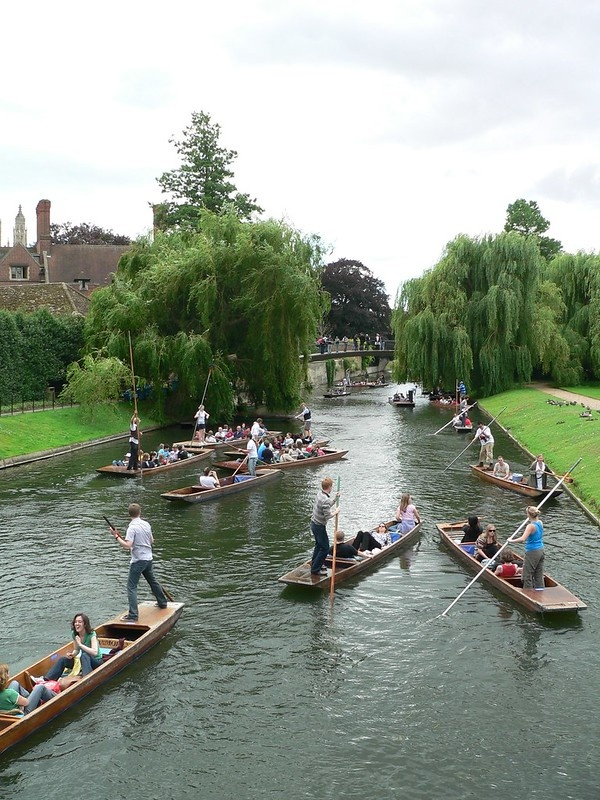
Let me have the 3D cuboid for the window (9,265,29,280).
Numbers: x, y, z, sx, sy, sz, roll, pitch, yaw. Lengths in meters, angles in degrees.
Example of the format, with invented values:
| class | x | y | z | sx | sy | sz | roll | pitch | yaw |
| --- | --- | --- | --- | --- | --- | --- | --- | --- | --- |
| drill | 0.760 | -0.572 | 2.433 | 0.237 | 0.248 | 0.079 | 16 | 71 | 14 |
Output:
| class | x | y | z | sx | sy | sz | roll | pitch | yaw |
| --- | --- | --- | --- | --- | --- | --- | --- | --- | --- |
| window | -25.088 | -11.376 | 73.241 | 1.303 | 1.330 | 0.137 | 0 | 2 | 4 |

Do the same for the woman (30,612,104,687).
| class | x | y | z | sx | sy | sz | roll | pitch | yaw |
| --- | --- | --- | --- | --- | --- | --- | --- | --- | --- |
| woman | -3.210 | 3.557 | 11.473 | 0.491 | 0.993 | 0.951 | -3 | -6 | 35 |

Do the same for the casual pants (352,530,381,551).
| class | x | y | z | sx | sy | sz | roll | pitch | yaw |
| --- | --- | --- | --- | --- | --- | --- | --- | --- | --- |
| casual pants | 1.405 | 3.003 | 17.363 | 0.222 | 0.257 | 0.694 | 10 | 9 | 31 |

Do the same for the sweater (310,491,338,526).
| class | x | y | z | sx | sy | sz | roll | pitch | yaw |
| --- | --- | --- | --- | --- | --- | --- | --- | --- | --- |
| sweater | 0.437 | 1.996 | 15.065 | 0.447 | 0.680 | 0.310 | -4 | 3 | -21 |

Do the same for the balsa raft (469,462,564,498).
| class | x | y | z | sx | sy | sz | roll | pitch | yaw |
| --- | --- | --- | --- | --- | --- | --- | --- | --- | --- |
| balsa raft | 6.232 | 2.355 | 24.528 | 0.674 | 0.330 | 2.915 | 0 | 3 | -16 |

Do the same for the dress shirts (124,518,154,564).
| class | x | y | z | sx | sy | sz | roll | pitch | yaw |
| --- | --- | --- | --- | --- | --- | --- | --- | --- | --- |
| dress shirts | -2.574 | 2.248 | 13.066 | 0.529 | 0.683 | 0.377 | -5 | 3 | -37 |

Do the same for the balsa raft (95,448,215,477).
| class | x | y | z | sx | sy | sz | roll | pitch | yaw |
| --- | --- | --- | --- | --- | --- | --- | --- | --- | --- |
| balsa raft | -4.594 | 2.249 | 28.708 | 1.026 | 0.513 | 4.689 | -1 | 5 | 20 |

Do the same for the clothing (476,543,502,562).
| class | x | y | z | sx | sy | sz | roll | pitch | yaw |
| --- | --- | --- | --- | --- | --- | --- | --- | --- | --- |
| clothing | 3.701 | 3.100 | 16.356 | 0.329 | 0.225 | 0.582 | 0 | 3 | -9 |

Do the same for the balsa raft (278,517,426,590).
| class | x | y | z | sx | sy | sz | roll | pitch | yaw |
| --- | --- | --- | --- | --- | --- | --- | --- | --- | --- |
| balsa raft | 1.369 | 3.179 | 16.938 | 0.934 | 0.414 | 4.797 | 12 | 13 | 25 |

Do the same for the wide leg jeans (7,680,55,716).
| class | x | y | z | sx | sy | sz | roll | pitch | yaw |
| --- | --- | --- | --- | --- | --- | --- | --- | --- | --- |
| wide leg jeans | -3.450 | 3.821 | 10.486 | 0.305 | 0.192 | 0.468 | 0 | 5 | 20 |

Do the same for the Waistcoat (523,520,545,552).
| class | x | y | z | sx | sy | sz | roll | pitch | yaw |
| --- | --- | --- | --- | --- | --- | --- | --- | --- | --- |
| Waistcoat | 3.997 | 2.352 | 14.056 | 0.263 | 0.564 | 0.300 | -2 | 3 | 3 |
